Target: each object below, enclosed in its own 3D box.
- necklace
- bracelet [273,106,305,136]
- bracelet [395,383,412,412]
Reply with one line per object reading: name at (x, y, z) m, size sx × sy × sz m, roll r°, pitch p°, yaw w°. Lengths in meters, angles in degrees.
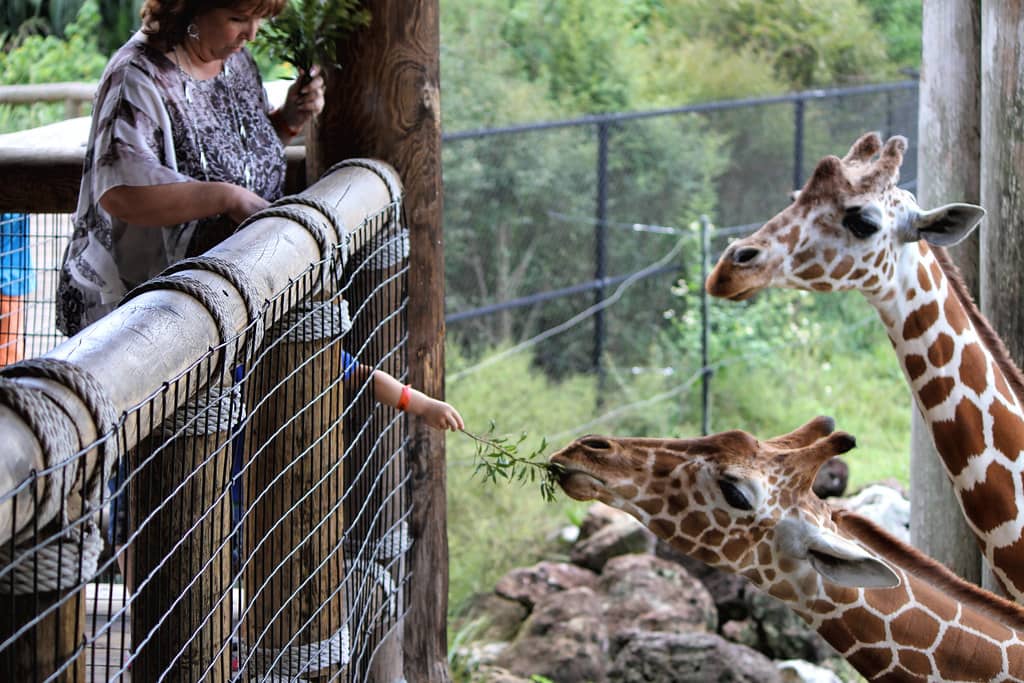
necklace at (-1.355, -0.979, 7.742) m, size 0.355 × 0.704 × 0.513 m, roll 9°, pitch 17°, yaw 41°
bracelet at (-1.069, -1.033, 8.180) m, size 0.103 × 0.047 × 0.117 m, roll 36°, pitch 2°, yaw 12°
bracelet at (-0.502, 0.250, 7.848) m, size 0.042 × 0.092 × 0.073 m, roll 12°, pitch -10°, yaw -17°
